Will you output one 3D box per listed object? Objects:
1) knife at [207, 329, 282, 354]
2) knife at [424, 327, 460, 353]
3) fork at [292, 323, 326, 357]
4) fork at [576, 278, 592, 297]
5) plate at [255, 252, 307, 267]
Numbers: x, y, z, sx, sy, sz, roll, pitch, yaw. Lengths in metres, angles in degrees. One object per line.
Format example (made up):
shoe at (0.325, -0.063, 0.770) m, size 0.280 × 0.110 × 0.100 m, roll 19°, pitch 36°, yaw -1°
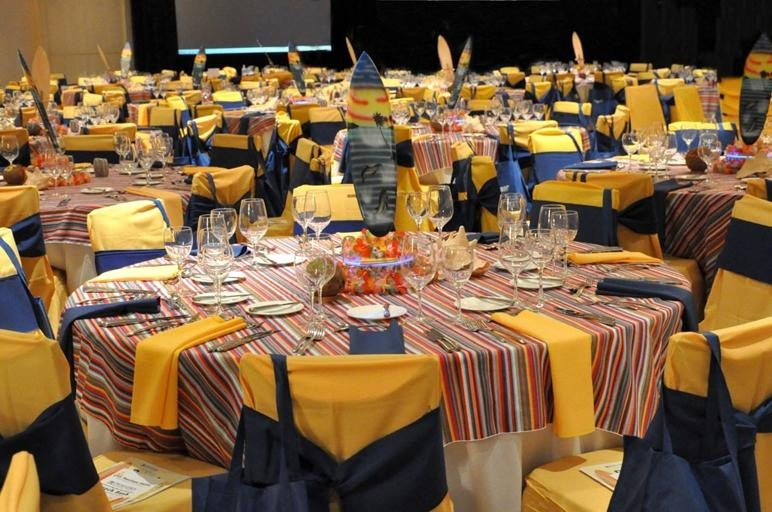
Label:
knife at (-0.542, 0.317, 2.463) m, size 0.265 × 0.014 × 0.075 m, roll -17°, pitch 22°, yaw -42°
knife at (0.201, 0.299, 2.410) m, size 0.048 × 0.016 × 0.158 m, roll -10°, pitch 16°, yaw -17°
fork at (-0.283, 0.313, 2.455) m, size 0.044 × 0.029 × 0.182 m, roll 11°, pitch 30°, yaw 11°
fork at (0.841, 0.139, 2.814) m, size 0.038 × 0.037 × 0.197 m, roll -10°, pitch 24°, yaw 29°
plate at (-0.530, 0.020, 3.240) m, size 0.141 × 0.024 × 0.154 m, roll 1°, pitch 16°, yaw -3°
